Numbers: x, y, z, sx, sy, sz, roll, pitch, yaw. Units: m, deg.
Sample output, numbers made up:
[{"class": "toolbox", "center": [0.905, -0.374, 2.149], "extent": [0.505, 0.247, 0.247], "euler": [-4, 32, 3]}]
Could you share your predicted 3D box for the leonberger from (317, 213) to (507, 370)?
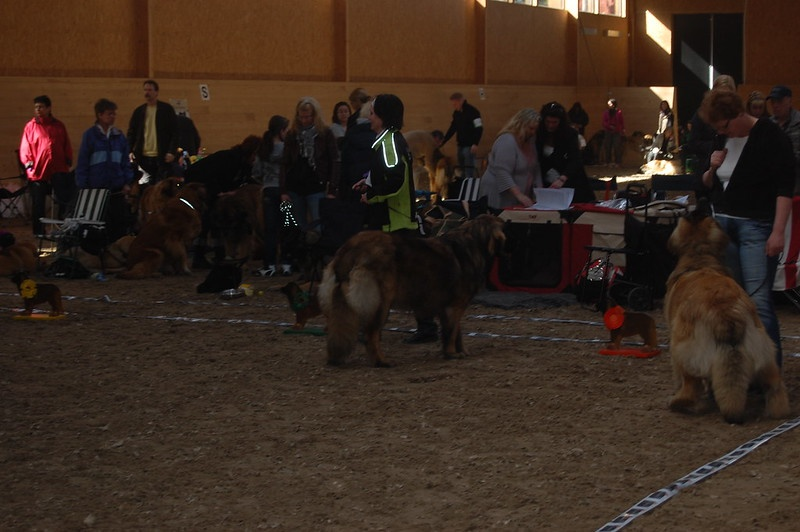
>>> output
[{"class": "leonberger", "center": [0.139, 0.223, 8.408], "extent": [2.205, 1.364, 0.626], "euler": [0, -4, -35]}]

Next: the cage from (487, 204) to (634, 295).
[{"class": "cage", "center": [2.023, -0.189, 10.809], "extent": [1.247, 0.779, 1.268], "euler": [4, 7, 32]}]

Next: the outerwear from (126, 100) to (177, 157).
[{"class": "outerwear", "center": [-4.196, -2.290, 14.733], "extent": [0.935, 0.870, 0.589], "euler": [0, 15, 6]}]

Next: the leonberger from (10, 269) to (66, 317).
[{"class": "leonberger", "center": [-4.196, 0.326, 10.054], "extent": [0.778, 0.596, 0.399], "euler": [4, 1, 7]}]

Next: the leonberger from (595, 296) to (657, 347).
[{"class": "leonberger", "center": [2.229, 0.604, 8.546], "extent": [0.573, 0.411, 0.229], "euler": [4, 4, -19]}]

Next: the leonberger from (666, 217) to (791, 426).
[{"class": "leonberger", "center": [2.640, 0.384, 7.380], "extent": [0.858, 1.432, 2.386], "euler": [-6, 12, 11]}]
